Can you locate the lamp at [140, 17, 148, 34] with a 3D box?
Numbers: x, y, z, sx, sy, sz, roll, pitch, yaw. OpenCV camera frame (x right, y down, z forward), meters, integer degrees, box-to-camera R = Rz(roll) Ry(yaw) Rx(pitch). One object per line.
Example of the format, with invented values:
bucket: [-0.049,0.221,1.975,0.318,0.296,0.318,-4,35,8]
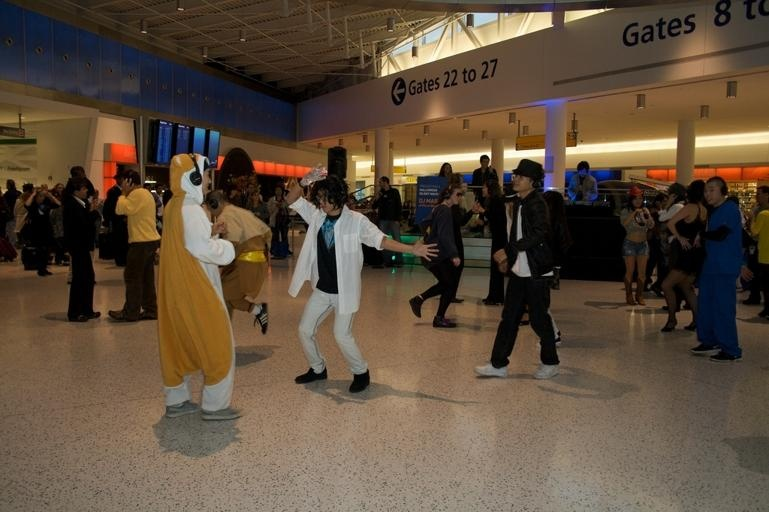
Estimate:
lamp: [-8.085,-7.737,17.865,0.211,0.374,0.534,-4,12,-24]

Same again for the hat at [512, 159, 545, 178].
hat: [1.493,-0.891,5.445,0.247,0.128,0.214,20,16,22]

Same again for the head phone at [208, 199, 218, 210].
head phone: [-1.950,-0.599,6.063,0.106,0.105,0.035,5,5,13]

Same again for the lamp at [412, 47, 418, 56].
lamp: [1.186,-7.831,20.204,0.236,0.417,0.670,1,11,2]

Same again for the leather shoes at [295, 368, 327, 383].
leather shoes: [-0.725,1.211,5.422,0.343,0.144,0.125,0,2,-21]

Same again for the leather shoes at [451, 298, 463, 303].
leather shoes: [1.310,0.791,9.334,0.259,0.111,0.087,-8,-4,39]

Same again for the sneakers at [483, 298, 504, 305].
sneakers: [1.874,0.777,9.085,0.317,0.133,0.118,-2,0,24]

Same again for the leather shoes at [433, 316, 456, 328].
leather shoes: [0.902,0.939,7.544,0.379,0.167,0.127,-2,2,-2]

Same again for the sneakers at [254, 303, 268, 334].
sneakers: [-1.495,0.759,6.454,0.183,0.417,0.142,-10,17,-19]

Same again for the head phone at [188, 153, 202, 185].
head phone: [-1.634,-0.743,4.598,0.110,0.285,0.263,-5,0,-15]

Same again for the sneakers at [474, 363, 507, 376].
sneakers: [1.126,1.207,5.590,0.341,0.144,0.135,4,-2,0]

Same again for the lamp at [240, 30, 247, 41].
lamp: [-4.543,-7.154,17.071,0.097,0.300,0.250,0,11,-4]

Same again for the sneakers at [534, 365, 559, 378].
sneakers: [1.681,1.199,5.469,0.268,0.119,0.106,-1,3,-17]

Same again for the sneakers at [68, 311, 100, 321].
sneakers: [-4.227,0.856,7.496,0.379,0.254,0.123,3,-5,-34]

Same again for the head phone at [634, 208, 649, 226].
head phone: [4.232,-0.633,8.662,0.197,0.274,0.096,-3,4,4]
